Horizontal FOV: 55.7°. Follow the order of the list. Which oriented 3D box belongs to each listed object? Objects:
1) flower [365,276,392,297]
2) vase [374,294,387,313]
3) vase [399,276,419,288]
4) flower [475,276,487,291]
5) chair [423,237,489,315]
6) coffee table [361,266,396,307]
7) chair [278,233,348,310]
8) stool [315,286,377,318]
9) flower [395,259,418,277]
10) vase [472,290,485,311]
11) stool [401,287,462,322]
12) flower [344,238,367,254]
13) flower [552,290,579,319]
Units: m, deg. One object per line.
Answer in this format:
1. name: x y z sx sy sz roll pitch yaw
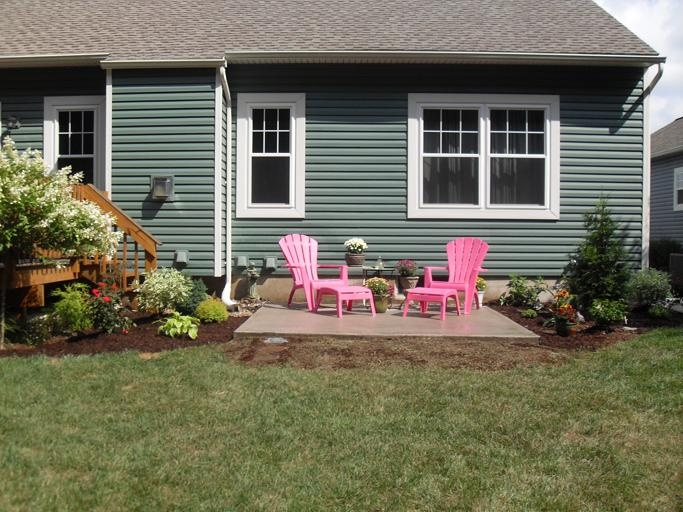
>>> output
1. flower: 0.540 0.459 9.646 0.322 0.218 0.288 1 2 -4
2. vase: 0.576 0.702 9.544 0.239 0.265 0.239 -2 3 -7
3. vase: 1.064 0.414 10.395 0.298 0.190 0.241 1 2 13
4. flower: 2.243 0.448 10.341 0.211 0.182 0.213 -1 0 20
5. chair: 1.678 0.280 9.483 0.975 1.074 0.921 0 3 -10
6. coffee table: 0.571 0.559 9.689 0.378 0.553 0.486 3 -6 -37
7. chair: -0.498 0.231 9.642 0.746 0.935 1.022 -2 10 -16
8. stool: -0.014 0.593 9.352 0.561 0.282 0.567 -1 1 -29
9. flower: 1.032 0.189 10.385 0.277 0.201 0.290 3 2 31
10. vase: 2.172 0.693 10.130 0.245 0.299 0.254 -2 -2 29
11. stool: 1.294 0.666 9.199 0.662 0.343 0.527 1 2 38
12. flower: 0.243 -0.161 10.371 0.275 0.181 0.275 2 4 10
13. flower: 3.119 0.693 9.042 0.406 0.437 0.313 -2 42 17
